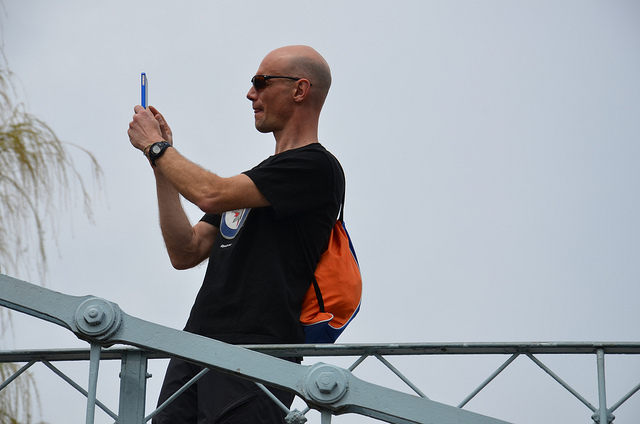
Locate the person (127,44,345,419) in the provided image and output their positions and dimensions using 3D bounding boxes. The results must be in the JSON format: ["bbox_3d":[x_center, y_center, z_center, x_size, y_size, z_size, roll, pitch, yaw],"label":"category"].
[{"bbox_3d":[-0.453,0.185,8.833,1.116,2.208,1.066,7,-43,1],"label":"person"}]

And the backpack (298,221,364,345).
[{"bbox_3d":[0.070,0.461,8.882,0.339,0.760,0.320,30,-47,-22],"label":"backpack"}]
